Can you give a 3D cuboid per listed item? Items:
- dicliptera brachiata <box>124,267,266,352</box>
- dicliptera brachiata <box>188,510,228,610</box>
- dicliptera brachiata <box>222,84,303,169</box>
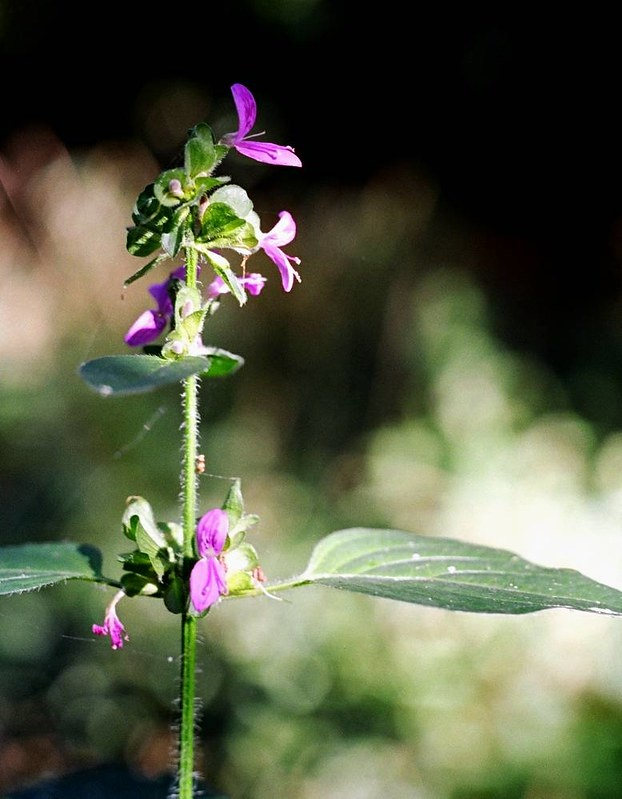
[{"bbox_3d":[-0.289,-0.231,2.049,0.309,0.195,0.287,9,15,41],"label":"dicliptera brachiata"},{"bbox_3d":[-0.225,0.360,1.835,0.094,0.220,0.138,-2,12,-5],"label":"dicliptera brachiata"},{"bbox_3d":[-0.131,-0.662,2.018,0.175,0.200,0.271,-3,11,-8],"label":"dicliptera brachiata"}]
